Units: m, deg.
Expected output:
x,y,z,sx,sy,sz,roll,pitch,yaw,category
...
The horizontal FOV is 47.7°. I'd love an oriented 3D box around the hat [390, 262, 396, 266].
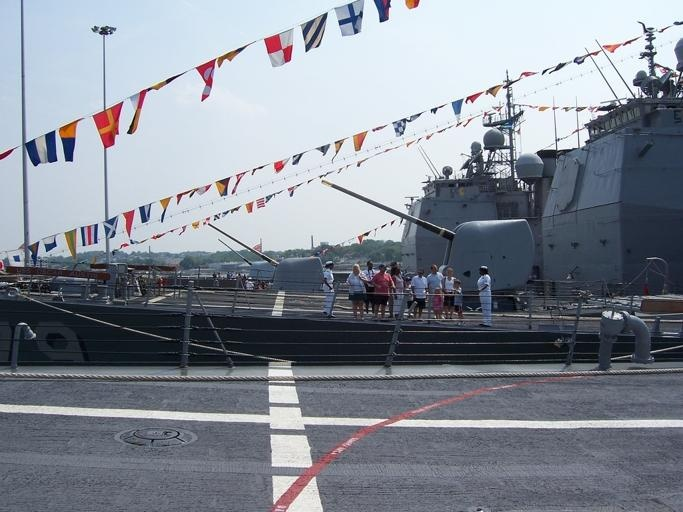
x,y,z,sx,sy,sz,roll,pitch,yaw,category
0.946,0.148,13.865,0.089,0.039,0.124,-1,1,35,hat
